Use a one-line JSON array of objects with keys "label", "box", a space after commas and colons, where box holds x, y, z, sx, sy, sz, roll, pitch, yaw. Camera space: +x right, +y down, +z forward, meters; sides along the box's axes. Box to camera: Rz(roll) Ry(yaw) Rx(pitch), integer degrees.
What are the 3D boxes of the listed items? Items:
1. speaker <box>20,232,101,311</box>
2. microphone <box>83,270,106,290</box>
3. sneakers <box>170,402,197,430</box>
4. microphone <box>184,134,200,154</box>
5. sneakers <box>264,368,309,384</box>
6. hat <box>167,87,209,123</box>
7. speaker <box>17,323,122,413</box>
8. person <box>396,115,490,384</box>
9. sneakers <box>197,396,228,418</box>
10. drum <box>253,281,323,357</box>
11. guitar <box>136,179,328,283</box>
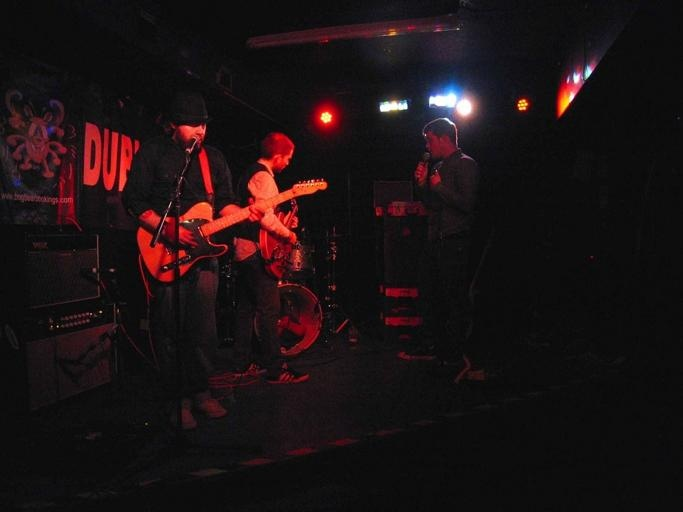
[{"label": "speaker", "box": [-2.038, 0.102, 4.543, 0.378, 0.721, 0.721, 0, 0, 33]}, {"label": "microphone", "box": [-1.871, 0.178, 4.630, 0.081, 0.134, 0.030, -24, 2, -39]}, {"label": "sneakers", "box": [-1.051, 1.066, 4.105, 0.134, 0.115, 0.267, 3, -11, -27]}, {"label": "microphone", "box": [-1.008, -0.757, 4.123, 0.066, 0.090, 0.296, 15, 13, -10]}, {"label": "sneakers", "box": [-0.457, 1.005, 5.116, 0.342, 0.154, 0.134, -9, -3, -5]}, {"label": "hat", "box": [-1.055, -1.036, 4.224, 0.224, 0.131, 0.196, -13, 22, -29]}, {"label": "speaker", "box": [-1.957, 0.764, 4.419, 0.366, 0.522, 0.716, 1, 5, 28]}, {"label": "person", "box": [0.942, -0.118, 5.559, 0.499, 2.279, 1.131, 1, -1, -14]}, {"label": "sneakers", "box": [-0.921, 1.066, 4.364, 0.205, 0.086, 0.123, 8, 5, 25]}, {"label": "drum", "box": [-0.530, 0.602, 5.777, 0.544, 0.602, 0.299, -16, -5, -12]}, {"label": "guitar", "box": [-0.886, -0.180, 4.845, 0.168, 0.466, 1.247, -2, 24, 36]}]
